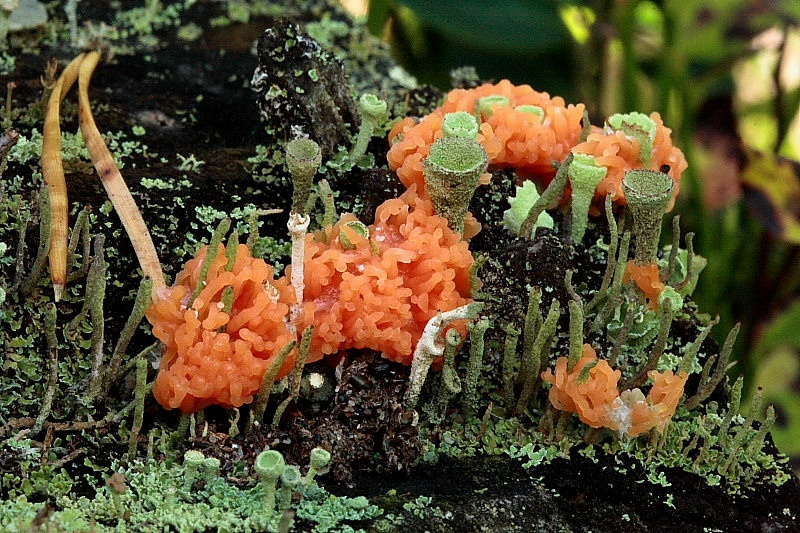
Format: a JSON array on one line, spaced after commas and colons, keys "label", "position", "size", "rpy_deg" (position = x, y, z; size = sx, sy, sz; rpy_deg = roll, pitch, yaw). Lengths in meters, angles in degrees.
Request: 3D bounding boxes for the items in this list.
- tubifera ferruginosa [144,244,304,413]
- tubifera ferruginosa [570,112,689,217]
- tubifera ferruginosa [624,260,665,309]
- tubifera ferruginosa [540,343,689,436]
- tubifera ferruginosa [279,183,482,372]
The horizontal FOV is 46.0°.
[{"label": "tubifera ferruginosa", "position": [-0.771, 0.290, 5.098], "size": [0.420, 0.740, 0.880], "rpy_deg": [-44, 73, -12]}, {"label": "tubifera ferruginosa", "position": [1.316, -0.601, 5.427], "size": [0.649, 0.498, 0.439], "rpy_deg": [8, 25, 12]}, {"label": "tubifera ferruginosa", "position": [1.338, 0.083, 5.161], "size": [0.244, 0.243, 0.072], "rpy_deg": [13, 26, 15]}, {"label": "tubifera ferruginosa", "position": [1.062, 0.757, 4.917], "size": [0.293, 0.569, 0.570], "rpy_deg": [29, 15, 11]}, {"label": "tubifera ferruginosa", "position": [-0.077, 0.059, 4.813], "size": [0.892, 0.872, 0.457], "rpy_deg": [-1, -13, -6]}]
